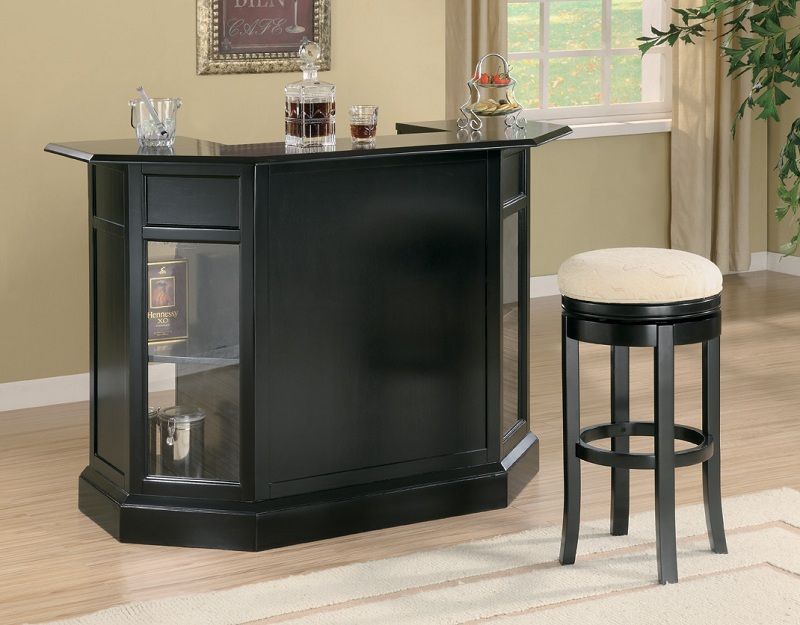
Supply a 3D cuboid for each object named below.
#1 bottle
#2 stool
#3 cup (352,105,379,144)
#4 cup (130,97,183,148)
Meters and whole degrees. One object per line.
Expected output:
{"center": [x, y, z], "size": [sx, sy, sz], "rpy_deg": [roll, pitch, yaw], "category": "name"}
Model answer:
{"center": [-0.286, -0.678, 2.702], "size": [0.163, 0.336, 0.216], "rpy_deg": [-5, 12, -6], "category": "bottle"}
{"center": [0.730, 0.292, 2.591], "size": [0.498, 0.940, 0.431], "rpy_deg": [1, 13, 20], "category": "stool"}
{"center": [-0.083, -0.610, 2.808], "size": [0.127, 0.125, 0.121], "rpy_deg": [1, 2, 0], "category": "cup"}
{"center": [-0.768, -0.602, 2.778], "size": [0.151, 0.149, 0.180], "rpy_deg": [-1, 5, -11], "category": "cup"}
